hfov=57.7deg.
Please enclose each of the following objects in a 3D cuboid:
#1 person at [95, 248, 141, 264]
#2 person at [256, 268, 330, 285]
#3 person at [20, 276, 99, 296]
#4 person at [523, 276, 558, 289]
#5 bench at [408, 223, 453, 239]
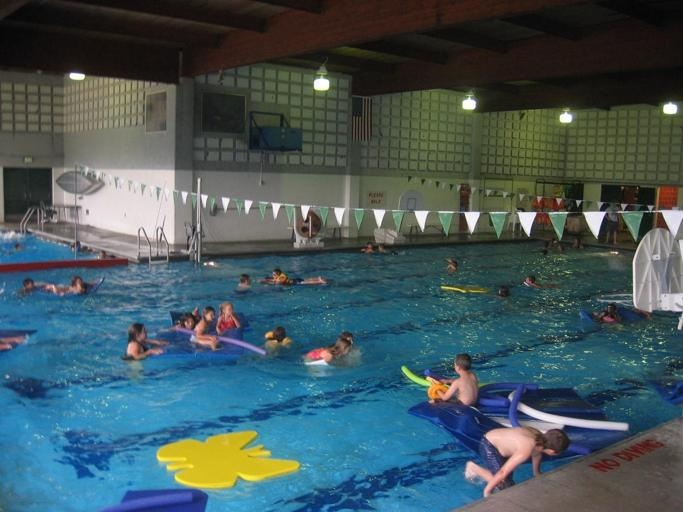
[{"bbox_3d":[-4.954,0.023,13.540,0.655,0.285,1.289,-3,3,-39],"label":"person"},{"bbox_3d":[-0.913,0.490,12.353,1.098,0.313,0.505,2,6,-2],"label":"person"},{"bbox_3d":[-4.980,0.570,11.033,0.743,0.262,0.596,15,-5,-5],"label":"person"},{"bbox_3d":[4.213,0.535,13.240,0.703,0.247,0.656,-2,3,-8],"label":"person"},{"bbox_3d":[2.762,-0.817,20.095,1.225,0.449,2.544,-1,3,12],"label":"bench"}]
